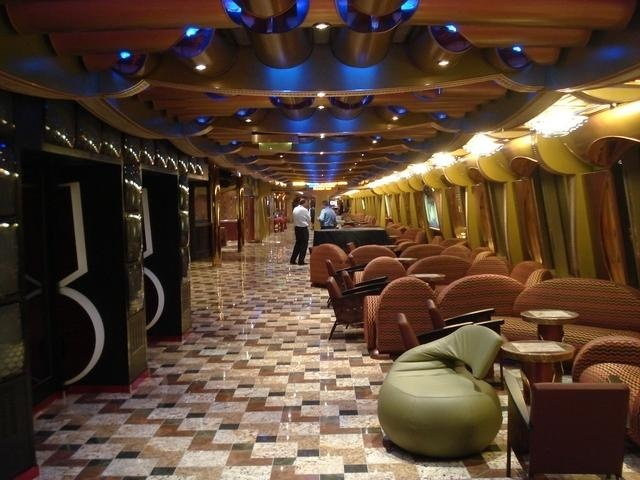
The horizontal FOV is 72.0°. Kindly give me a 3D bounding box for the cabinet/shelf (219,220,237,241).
[{"bbox_3d":[-5.045,-0.545,24.840,0.706,1.191,1.655,-1,2,-14],"label":"cabinet/shelf"}]
